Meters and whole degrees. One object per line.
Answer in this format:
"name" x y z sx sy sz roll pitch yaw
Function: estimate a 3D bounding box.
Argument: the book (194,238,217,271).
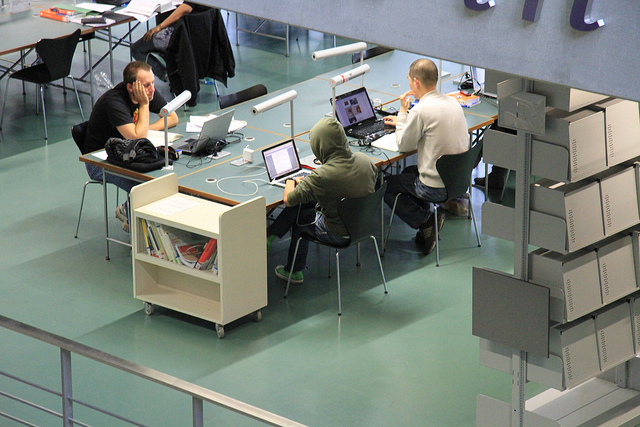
"book" -0.863 0.321 4.386 0.055 0.222 0.228 27 35 -4

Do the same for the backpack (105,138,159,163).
"backpack" -1.637 -0.557 4.969 0.298 0.122 0.294 17 23 36

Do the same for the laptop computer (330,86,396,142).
"laptop computer" 0.366 -0.962 5.734 0.619 0.555 0.399 -19 19 -37

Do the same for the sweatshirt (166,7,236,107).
"sweatshirt" -1.609 -2.193 7.712 0.917 1.050 0.293 -17 28 -33

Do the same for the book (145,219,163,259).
"book" -1.320 0.194 4.576 0.051 0.330 0.049 -19 10 39

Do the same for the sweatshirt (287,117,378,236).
"sweatshirt" 0.100 -0.280 4.749 0.875 0.844 0.508 -23 36 -17

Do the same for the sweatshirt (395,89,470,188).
"sweatshirt" 1.021 -0.681 5.221 0.651 0.823 0.378 2 24 7

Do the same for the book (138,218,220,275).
"book" -1.116 0.238 4.504 0.522 0.117 0.542 13 10 4

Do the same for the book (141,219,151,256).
"book" -1.395 0.188 4.662 0.046 0.314 0.047 -15 10 -1

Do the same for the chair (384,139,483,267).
"chair" 1.066 -0.077 5.403 0.727 1.009 0.746 -32 49 -33

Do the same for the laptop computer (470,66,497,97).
"laptop computer" 1.780 -1.419 6.211 0.247 0.291 0.650 3 22 9

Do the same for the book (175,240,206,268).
"book" -1.023 0.314 4.560 0.209 0.057 0.196 -23 61 -17

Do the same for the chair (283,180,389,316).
"chair" 0.119 0.311 4.852 0.681 0.955 0.693 29 43 32

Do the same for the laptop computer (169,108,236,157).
"laptop computer" -0.989 -0.735 5.235 0.384 0.443 0.546 34 34 17

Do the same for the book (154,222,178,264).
"book" -1.222 0.230 4.537 0.038 0.287 0.236 -21 30 -37

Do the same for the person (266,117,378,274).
"person" -0.041 -0.055 4.941 1.026 1.413 0.760 16 23 26

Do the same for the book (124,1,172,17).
"book" -2.324 -2.736 7.602 0.688 0.173 0.319 8 24 20

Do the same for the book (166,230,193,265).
"book" -1.103 0.267 4.567 0.200 0.252 0.087 -14 -13 -40

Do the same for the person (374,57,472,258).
"person" 0.960 -0.531 5.392 0.835 1.750 0.913 1 23 5

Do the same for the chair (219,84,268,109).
"chair" -0.828 -1.264 6.169 0.142 0.189 0.575 20 30 40

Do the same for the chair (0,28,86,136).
"chair" -3.509 -1.771 7.491 0.895 1.246 1.441 -11 25 -22

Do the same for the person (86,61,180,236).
"person" -1.830 -0.668 5.715 0.932 1.571 0.953 26 31 38
